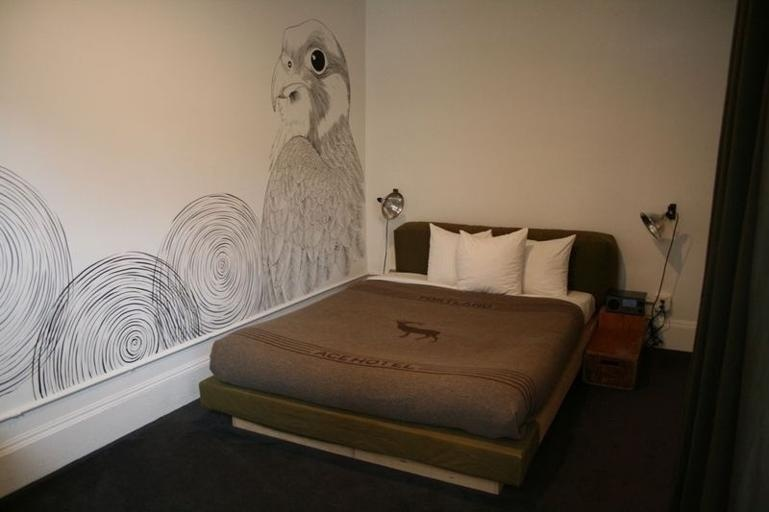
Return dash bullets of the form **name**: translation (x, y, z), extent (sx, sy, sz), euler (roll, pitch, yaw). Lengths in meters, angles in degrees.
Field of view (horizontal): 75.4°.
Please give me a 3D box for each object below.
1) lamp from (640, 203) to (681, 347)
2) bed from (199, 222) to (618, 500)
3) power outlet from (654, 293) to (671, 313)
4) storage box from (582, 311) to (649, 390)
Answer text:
- **lamp**: translation (2.199, 0.174, 4.047), extent (0.205, 1.189, 0.319), euler (10, 11, 44)
- **bed**: translation (0.433, 0.489, 3.939), extent (2.149, 1.016, 2.880), euler (3, 13, 30)
- **power outlet**: translation (2.328, 0.380, 4.120), extent (0.144, 0.146, 0.112), euler (-8, 11, -42)
- **storage box**: translation (1.726, 0.708, 3.724), extent (0.389, 0.246, 0.659), euler (5, 19, 28)
